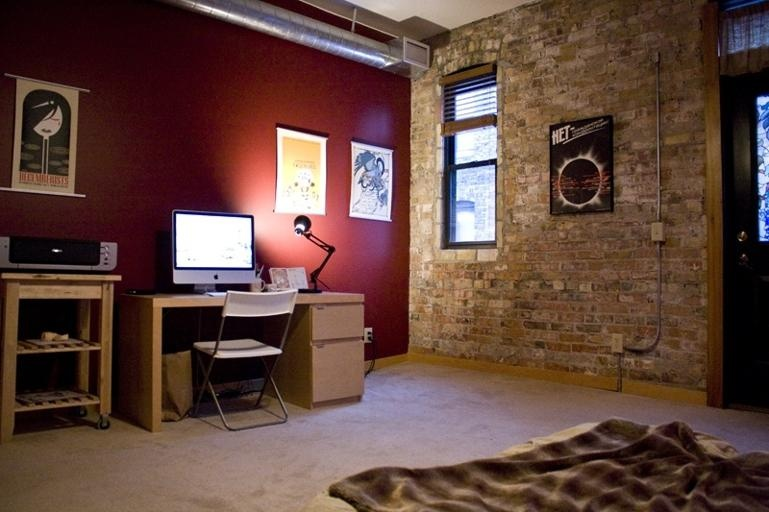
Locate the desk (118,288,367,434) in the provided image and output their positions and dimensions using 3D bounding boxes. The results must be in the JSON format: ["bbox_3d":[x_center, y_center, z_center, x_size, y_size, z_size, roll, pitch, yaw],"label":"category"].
[{"bbox_3d":[-1.234,0.812,4.884,1.894,1.053,0.802,2,-2,-40],"label":"desk"}]

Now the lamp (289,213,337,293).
[{"bbox_3d":[-0.727,-0.046,5.719,0.430,0.729,0.809,-3,0,-6],"label":"lamp"}]

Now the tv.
[{"bbox_3d":[-1.539,-0.046,4.889,0.715,0.667,0.218,3,-12,-36],"label":"tv"}]
